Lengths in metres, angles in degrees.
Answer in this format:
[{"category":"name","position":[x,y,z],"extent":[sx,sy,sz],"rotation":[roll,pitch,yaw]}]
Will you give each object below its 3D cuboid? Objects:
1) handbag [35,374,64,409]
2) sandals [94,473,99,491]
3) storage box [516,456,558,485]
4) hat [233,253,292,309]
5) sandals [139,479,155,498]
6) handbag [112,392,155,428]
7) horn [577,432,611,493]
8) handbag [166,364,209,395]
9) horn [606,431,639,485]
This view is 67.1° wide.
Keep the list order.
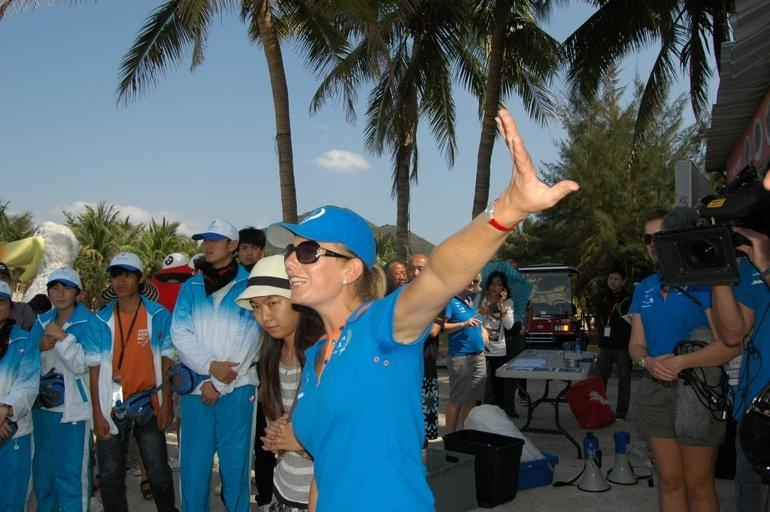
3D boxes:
[{"category":"handbag","position":[-3.815,1.523,6.599],"extent":[0.349,0.392,0.099],"rotation":[-5,-9,16]},{"category":"sandals","position":[-4.015,3.127,8.039],"extent":[0.071,0.175,0.335],"rotation":[2,-10,-24]},{"category":"storage box","position":[2.024,2.896,7.893],"extent":[0.484,0.274,0.334],"rotation":[7,-13,-35]},{"category":"hat","position":[-1.106,0.243,5.337],"extent":[0.401,0.333,0.566],"rotation":[-1,-7,4]},{"category":"sandals","position":[-3.181,3.074,7.712],"extent":[0.094,0.222,0.380],"rotation":[3,-11,-32]},{"category":"handbag","position":[-2.841,1.707,6.595],"extent":[0.423,0.306,0.421],"rotation":[0,-10,-16]},{"category":"horn","position":[2.870,2.872,8.030],"extent":[0.505,0.868,0.548],"rotation":[-3,-15,5]},{"category":"handbag","position":[-2.147,1.344,6.398],"extent":[0.258,0.299,0.379],"rotation":[-18,-4,27]},{"category":"horn","position":[3.227,2.731,7.994],"extent":[0.405,0.613,0.443],"rotation":[3,3,24]}]
